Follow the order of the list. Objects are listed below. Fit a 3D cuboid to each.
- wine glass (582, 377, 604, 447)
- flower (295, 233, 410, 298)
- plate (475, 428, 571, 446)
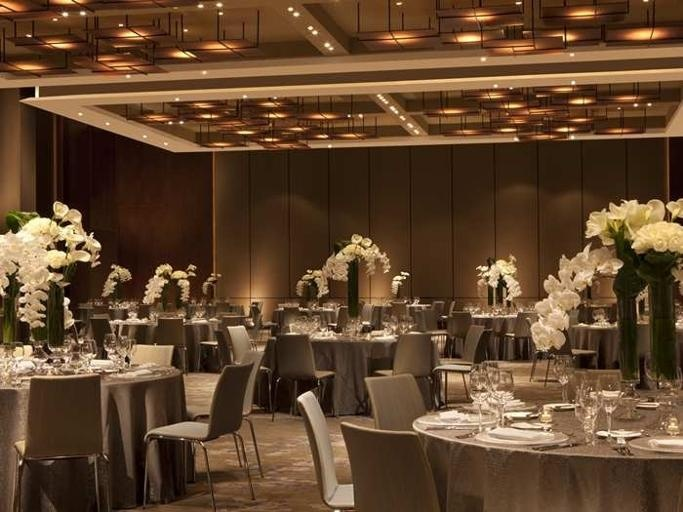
[{"bbox_3d":[1.209,0.745,3.213,0.095,0.306,0.244,-1,-5,21],"label":"wine glass"},{"bbox_3d":[0.352,0.174,15.116,1.241,0.648,1.269,-26,-10,31],"label":"flower"},{"bbox_3d":[0.875,0.879,3.213,0.449,0.054,0.180,-1,-6,13],"label":"plate"}]
